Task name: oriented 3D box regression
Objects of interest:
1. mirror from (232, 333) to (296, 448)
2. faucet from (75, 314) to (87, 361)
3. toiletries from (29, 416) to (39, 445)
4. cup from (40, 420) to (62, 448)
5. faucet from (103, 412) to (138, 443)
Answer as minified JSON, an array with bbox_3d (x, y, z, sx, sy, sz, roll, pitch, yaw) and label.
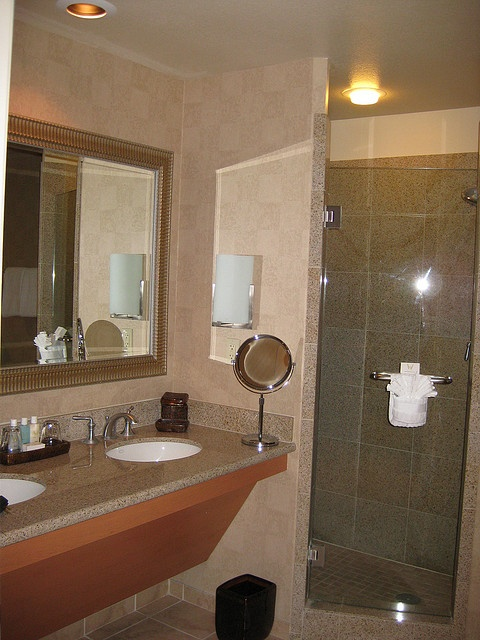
[{"bbox_3d":[0.080,0.273,2.203,0.245,0.434,0.271,13,12,20],"label":"mirror"},{"bbox_3d":[-0.617,0.082,2.103,0.024,0.146,0.053,-1,-8,17],"label":"faucet"},{"bbox_3d":[-0.716,0.376,1.896,0.035,0.088,0.104,4,12,-21],"label":"toiletries"},{"bbox_3d":[-0.662,0.398,1.900,0.067,0.075,0.075,1,-4,-3],"label":"cup"},{"bbox_3d":[-0.487,0.422,2.166,0.172,0.132,0.070,-2,2,-12],"label":"faucet"}]
